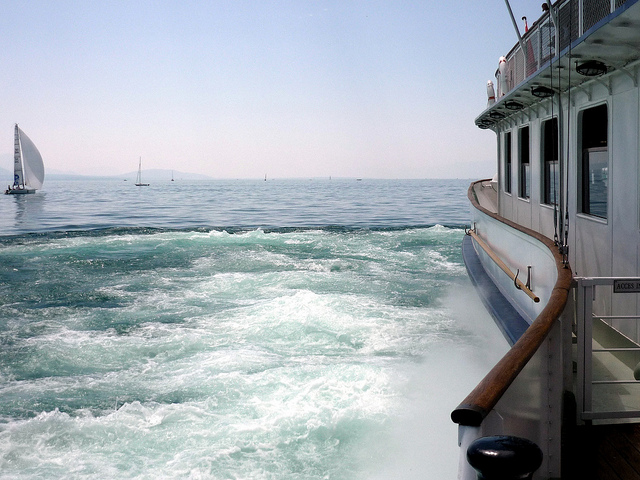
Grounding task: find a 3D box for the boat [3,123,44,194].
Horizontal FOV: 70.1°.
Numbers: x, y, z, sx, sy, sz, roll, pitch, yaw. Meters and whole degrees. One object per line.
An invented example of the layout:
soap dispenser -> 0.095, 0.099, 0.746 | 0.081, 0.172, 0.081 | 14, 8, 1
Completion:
boat -> -48.866, -13.258, 76.190 | 1.744, 10.970, 5.769 | 2, 10, 17
